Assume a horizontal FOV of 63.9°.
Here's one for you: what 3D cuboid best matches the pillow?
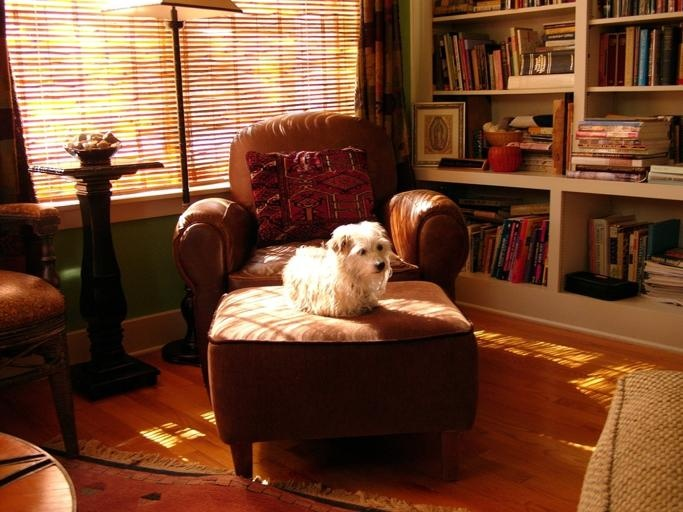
[{"bbox_3d":[-0.142,-0.284,2.546,0.620,0.455,0.166,-7,-6,-9],"label":"pillow"}]

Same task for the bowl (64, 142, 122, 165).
[{"bbox_3d":[-1.027,-0.422,2.277,0.141,0.048,0.124,0,9,8],"label":"bowl"}]

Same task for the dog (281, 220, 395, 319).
[{"bbox_3d":[-0.014,0.045,1.901,0.411,0.263,0.281,-1,9,35],"label":"dog"}]

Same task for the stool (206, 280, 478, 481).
[{"bbox_3d":[-0.010,0.360,1.707,0.905,0.475,0.573,-1,30,-6],"label":"stool"}]

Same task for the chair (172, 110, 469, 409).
[{"bbox_3d":[-0.069,-0.100,2.575,1.291,0.926,1.075,2,18,12],"label":"chair"}]
